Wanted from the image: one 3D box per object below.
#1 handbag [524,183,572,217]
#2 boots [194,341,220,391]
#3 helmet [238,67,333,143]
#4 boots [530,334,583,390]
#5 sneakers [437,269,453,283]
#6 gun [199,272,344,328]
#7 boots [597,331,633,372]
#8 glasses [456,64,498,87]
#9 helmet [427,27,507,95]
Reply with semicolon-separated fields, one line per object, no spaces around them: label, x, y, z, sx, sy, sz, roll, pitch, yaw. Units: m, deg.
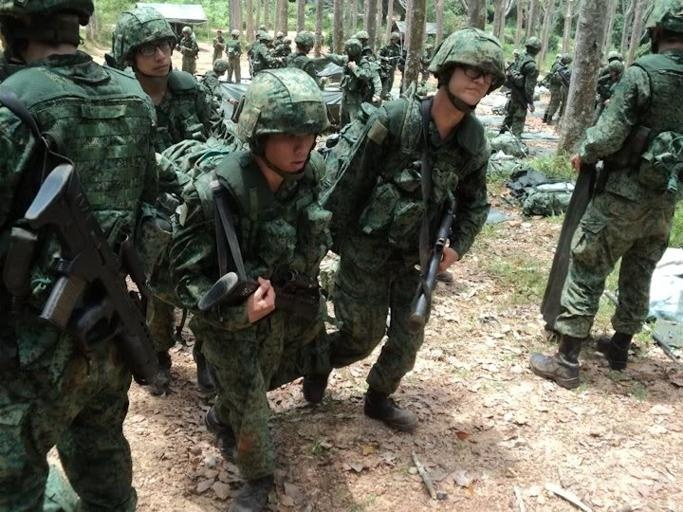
handbag;2.708;-0.732;7.855;0.498;0.261;0.682;2;21;26
boots;-0.904;0.746;4.063;0.098;0.418;0.129;14;15;23
helmet;-0.262;-0.698;2.791;0.358;0.292;0.365;-14;36;-33
boots;1.640;0.762;4.631;0.198;0.440;0.413;-6;20;-39
sneakers;0.956;0.197;5.604;0.139;0.177;0.376;-1;-2;5
gun;-0.377;0.193;2.956;0.805;0.222;0.315;17;-3;-33
boots;2.111;0.726;4.766;0.139;0.295;0.393;-3;26;-2
glasses;0.773;-0.985;3.335;0.263;0.139;0.142;-10;24;-29
helmet;0.702;-1.108;3.423;0.344;0.308;0.368;15;-6;-20
